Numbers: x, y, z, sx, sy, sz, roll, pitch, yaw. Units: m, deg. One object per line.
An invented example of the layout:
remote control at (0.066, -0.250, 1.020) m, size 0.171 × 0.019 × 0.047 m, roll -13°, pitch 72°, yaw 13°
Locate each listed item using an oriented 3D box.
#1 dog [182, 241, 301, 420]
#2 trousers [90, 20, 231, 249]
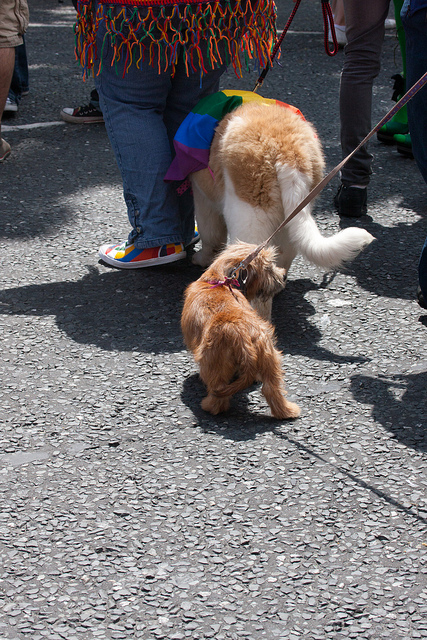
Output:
dog at (0.110, -0.015, 2.083) m, size 0.337 × 0.408 × 0.606 m, roll -7°, pitch 37°, yaw 3°
trousers at (-0.186, -0.759, 2.835) m, size 0.546 × 1.042 × 0.535 m, roll -10°, pitch 46°, yaw -4°
